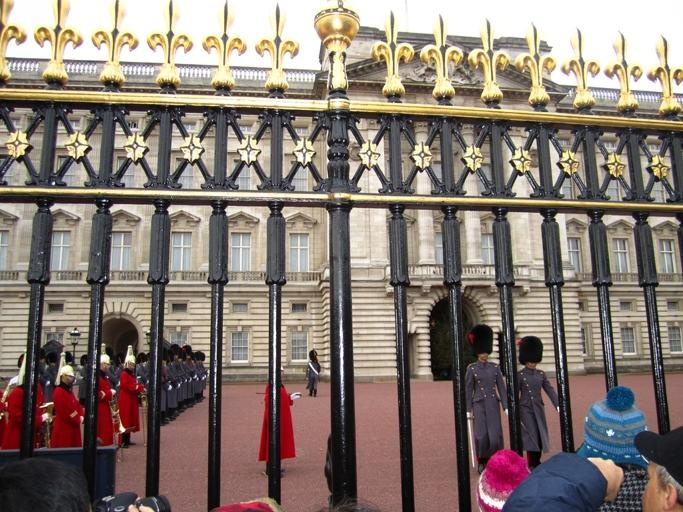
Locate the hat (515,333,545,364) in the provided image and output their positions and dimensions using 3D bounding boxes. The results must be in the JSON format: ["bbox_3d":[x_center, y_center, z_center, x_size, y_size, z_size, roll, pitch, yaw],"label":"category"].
[{"bbox_3d":[2.659,1.380,9.840,0.470,0.490,0.342,0,-5,26],"label":"hat"}]

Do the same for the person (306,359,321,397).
[{"bbox_3d":[-1.009,4.309,23.590,0.337,1.232,0.911,0,-1,-7],"label":"person"}]

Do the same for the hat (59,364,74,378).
[{"bbox_3d":[-3.991,1.677,9.814,0.275,0.180,0.196,4,-2,17],"label":"hat"}]

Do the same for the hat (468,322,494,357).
[{"bbox_3d":[1.834,1.136,9.084,0.309,0.412,0.406,1,-12,-9],"label":"hat"}]

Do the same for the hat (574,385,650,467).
[{"bbox_3d":[1.966,1.251,5.066,0.566,0.411,0.516,2,-3,-18],"label":"hat"}]
